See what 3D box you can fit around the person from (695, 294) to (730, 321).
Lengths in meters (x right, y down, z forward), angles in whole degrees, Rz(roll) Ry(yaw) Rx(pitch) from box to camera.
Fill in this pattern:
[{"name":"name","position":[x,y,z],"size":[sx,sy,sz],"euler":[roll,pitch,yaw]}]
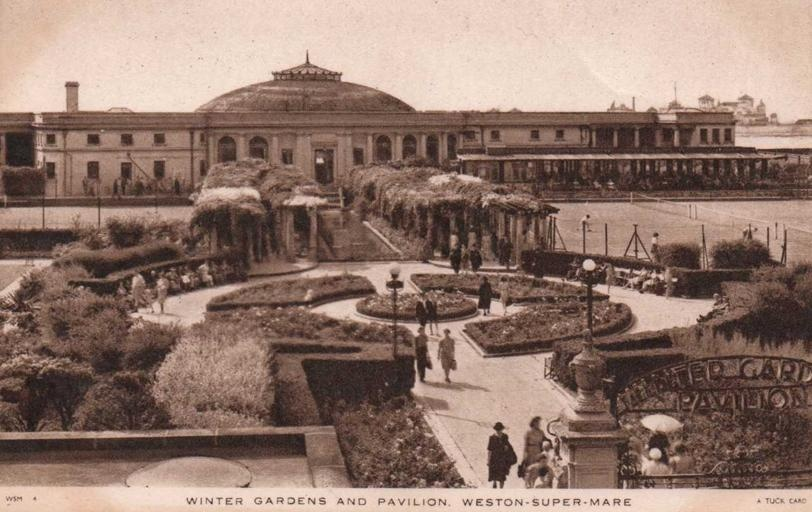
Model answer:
[{"name":"person","position":[12.451,2.121,49.390],"size":[1.611,0.919,0.854],"euler":[-15,10,-19]}]

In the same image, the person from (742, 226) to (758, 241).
[{"name":"person","position":[17.566,-1.148,62.692],"size":[0.935,1.061,0.337],"euler":[4,17,19]}]

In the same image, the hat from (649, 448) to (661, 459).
[{"name":"hat","position":[8.071,6.428,39.828],"size":[0.356,0.318,0.339],"euler":[-6,-7,7]}]

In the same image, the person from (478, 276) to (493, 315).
[{"name":"person","position":[3.296,1.664,51.915],"size":[0.471,1.667,1.342],"euler":[0,-1,8]}]

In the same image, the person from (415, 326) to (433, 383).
[{"name":"person","position":[0.591,3.625,45.373],"size":[0.605,2.061,0.981],"euler":[0,-1,-1]}]
